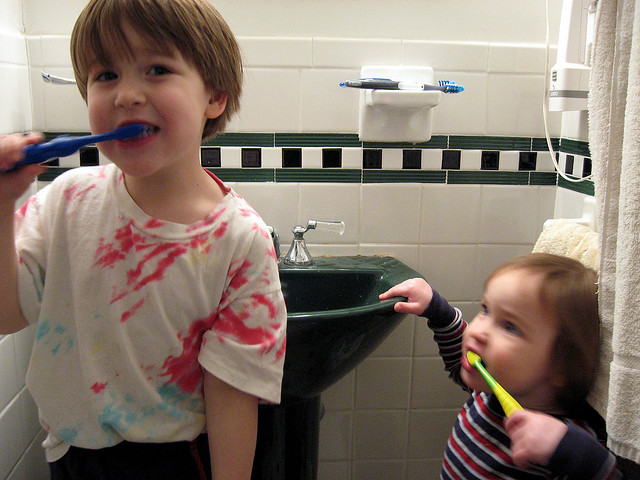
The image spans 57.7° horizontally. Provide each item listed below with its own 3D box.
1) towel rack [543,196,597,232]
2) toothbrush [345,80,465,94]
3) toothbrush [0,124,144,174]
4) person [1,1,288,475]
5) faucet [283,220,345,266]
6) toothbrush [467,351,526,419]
[{"bbox_3d":[0.692,-0.065,1.543,0.080,0.085,0.100,1,-1,-11],"label":"towel rack"},{"bbox_3d":[0.245,-0.412,1.552,0.371,0.031,0.106,-7,11,-29],"label":"toothbrush"},{"bbox_3d":[-0.366,-0.136,0.866,0.206,0.068,0.042,-1,9,1],"label":"toothbrush"},{"bbox_3d":[-0.290,0.042,0.988,0.456,0.855,0.208,-2,9,-5],"label":"person"},{"bbox_3d":[-0.013,0.007,1.632,0.167,0.136,0.098,4,8,9],"label":"faucet"},{"bbox_3d":[0.308,0.261,1.010,0.022,0.035,0.164,-32,35,6],"label":"toothbrush"}]
